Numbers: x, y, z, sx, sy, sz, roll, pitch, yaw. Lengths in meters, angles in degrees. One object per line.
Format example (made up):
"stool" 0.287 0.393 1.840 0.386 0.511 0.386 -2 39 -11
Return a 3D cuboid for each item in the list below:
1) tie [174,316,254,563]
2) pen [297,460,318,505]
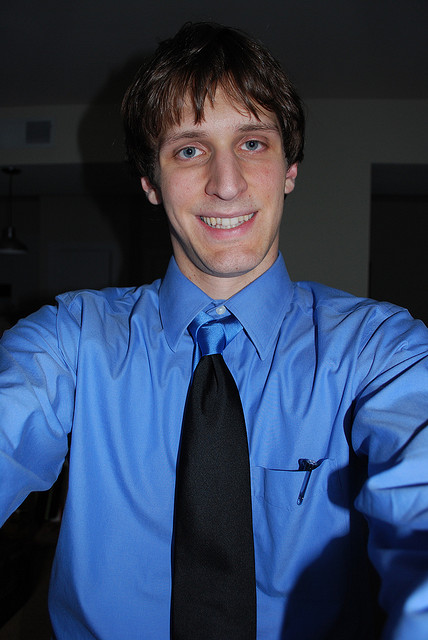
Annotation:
"tie" 0.004 0.180 0.942 0.118 0.367 0.277 2 0 -1
"pen" 0.156 0.276 0.924 0.034 0.074 0.012 2 0 -28
